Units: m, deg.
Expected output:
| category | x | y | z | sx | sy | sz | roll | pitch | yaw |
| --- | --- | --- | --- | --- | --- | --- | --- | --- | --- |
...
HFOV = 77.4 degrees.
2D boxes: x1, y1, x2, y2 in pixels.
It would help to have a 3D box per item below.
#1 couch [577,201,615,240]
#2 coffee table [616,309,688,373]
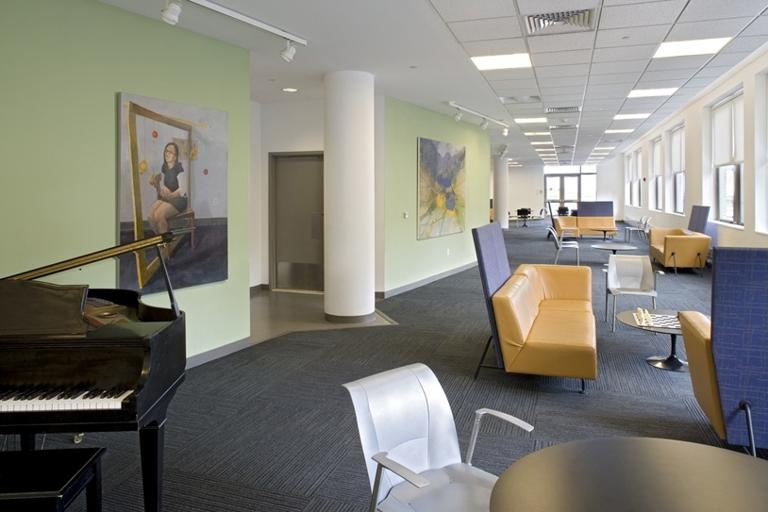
| category | x | y | z | sx | sy | sz | roll | pitch | yaw |
| --- | --- | --- | --- | --- | --- | --- | --- | --- | --- |
| couch | 8.025 | -1.341 | 18.101 | 1.598 | 1.565 | 1.188 | 0 | -2 | 9 |
| coffee table | 3.072 | 0.921 | 5.369 | 0.760 | 0.374 | 0.769 | -2 | 6 | 11 |
